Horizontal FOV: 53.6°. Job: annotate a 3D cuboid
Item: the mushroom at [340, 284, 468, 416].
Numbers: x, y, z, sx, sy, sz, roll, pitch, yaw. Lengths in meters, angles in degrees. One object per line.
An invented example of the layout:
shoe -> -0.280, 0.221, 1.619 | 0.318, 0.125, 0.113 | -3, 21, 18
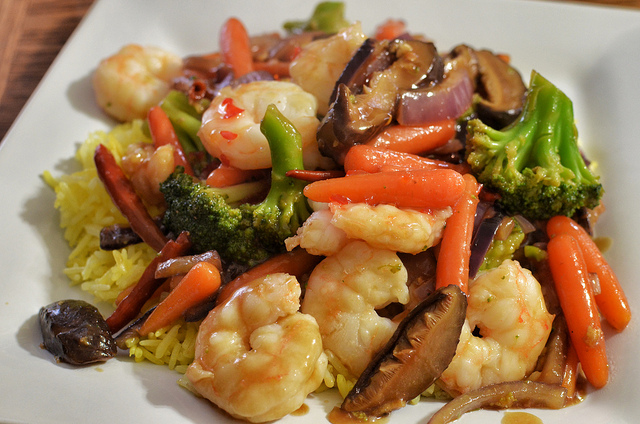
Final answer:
mushroom -> 0.564, 0.920, 4.111 | 0.804, 0.811, 0.295 | -12, 28, -31

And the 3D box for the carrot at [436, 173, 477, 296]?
carrot -> 0.929, 0.205, 4.411 | 0.181, 0.936, 0.157 | 15, -9, -26

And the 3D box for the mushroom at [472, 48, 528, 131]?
mushroom -> 1.403, -0.991, 5.037 | 0.428, 0.178, 0.620 | -10, 66, 11

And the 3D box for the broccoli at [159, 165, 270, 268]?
broccoli -> -0.729, 0.038, 4.713 | 0.729, 0.645, 0.266 | 48, 18, 26

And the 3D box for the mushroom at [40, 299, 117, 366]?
mushroom -> -1.674, 0.829, 4.353 | 0.500, 0.298, 0.441 | -4, 25, -17

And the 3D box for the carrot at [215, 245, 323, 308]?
carrot -> -0.348, 0.447, 4.347 | 0.537, 0.119, 0.148 | -29, 45, -8

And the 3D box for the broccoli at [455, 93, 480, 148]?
broccoli -> 1.135, -0.715, 4.943 | 0.091, 0.269, 0.360 | 29, 61, -19
